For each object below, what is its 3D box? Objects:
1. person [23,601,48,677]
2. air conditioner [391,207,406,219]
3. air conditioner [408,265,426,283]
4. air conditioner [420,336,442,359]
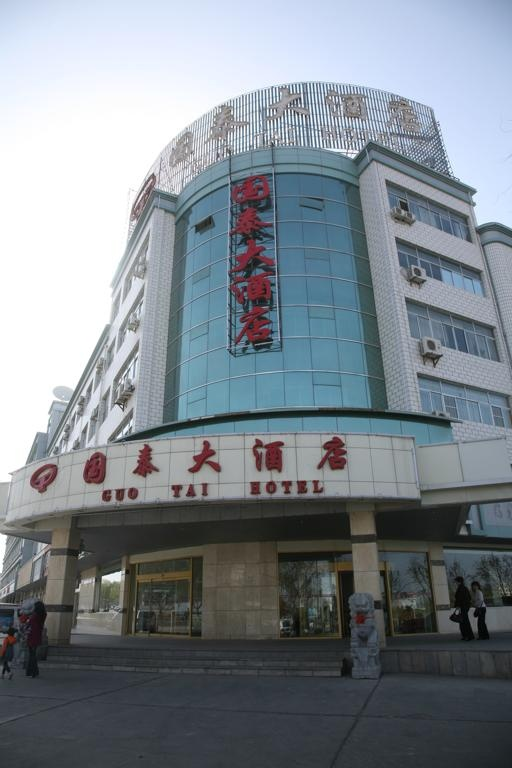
[{"bbox_3d":[-4.757,5.360,10.940,0.348,1.352,2.144,7,-24,-21],"label":"person"},{"bbox_3d":[6.077,-7.304,21.940,0.638,0.435,0.325,9,-19,-26],"label":"air conditioner"},{"bbox_3d":[6.571,-4.498,21.041,0.736,0.626,0.374,23,-38,-27],"label":"air conditioner"},{"bbox_3d":[6.693,-1.403,19.689,0.727,0.780,0.398,5,-24,-18],"label":"air conditioner"}]
